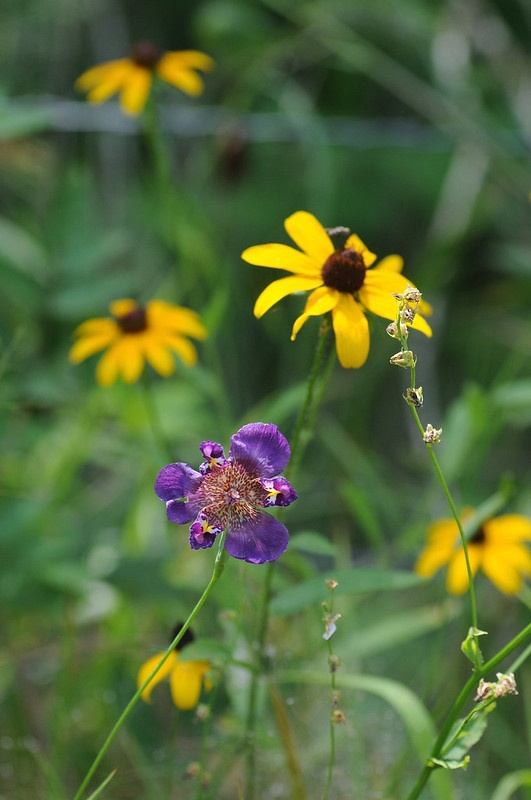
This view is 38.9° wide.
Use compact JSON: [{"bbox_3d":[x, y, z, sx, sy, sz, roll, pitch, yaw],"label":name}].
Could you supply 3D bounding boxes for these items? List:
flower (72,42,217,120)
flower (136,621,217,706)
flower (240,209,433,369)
[{"bbox_3d":[-0.087,-0.232,0.538,0.073,0.023,0.072,-31,41,-21],"label":"flower"},{"bbox_3d":[-0.051,0.179,0.507,0.036,0.048,0.052,28,45,19],"label":"flower"},{"bbox_3d":[0.041,-0.073,0.495,0.113,0.064,0.109,-13,46,-23],"label":"flower"}]
